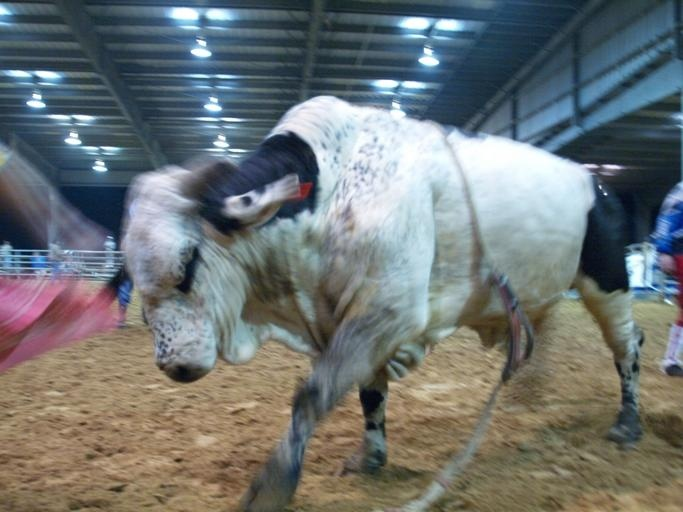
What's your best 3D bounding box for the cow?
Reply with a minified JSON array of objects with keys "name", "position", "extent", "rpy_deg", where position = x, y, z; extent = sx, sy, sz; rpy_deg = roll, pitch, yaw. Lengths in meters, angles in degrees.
[{"name":"cow","position":[0.320,0.196,3.319],"extent":[2.811,2.067,0.858],"rpy_deg":[1,8,-24]}]
